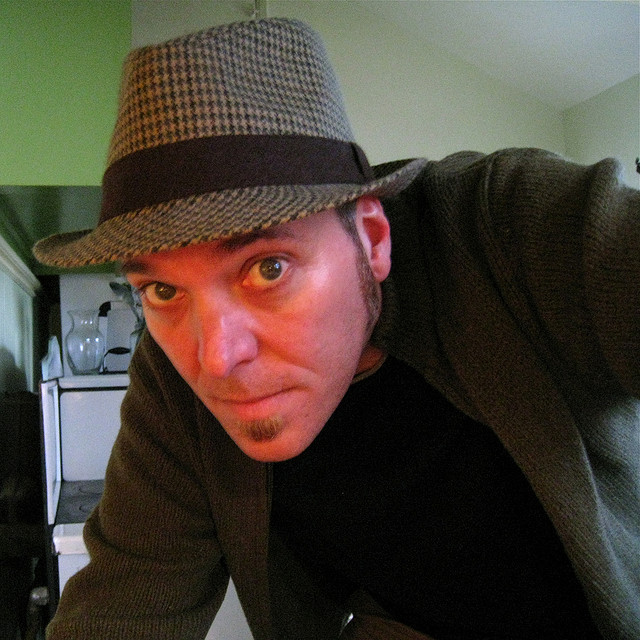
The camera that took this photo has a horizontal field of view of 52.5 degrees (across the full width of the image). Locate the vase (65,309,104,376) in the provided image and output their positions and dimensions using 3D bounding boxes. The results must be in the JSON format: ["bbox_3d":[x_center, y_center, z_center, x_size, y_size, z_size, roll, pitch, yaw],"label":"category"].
[{"bbox_3d":[-0.848,0.095,2.339,0.124,0.250,0.137,-9,-15,7],"label":"vase"}]
